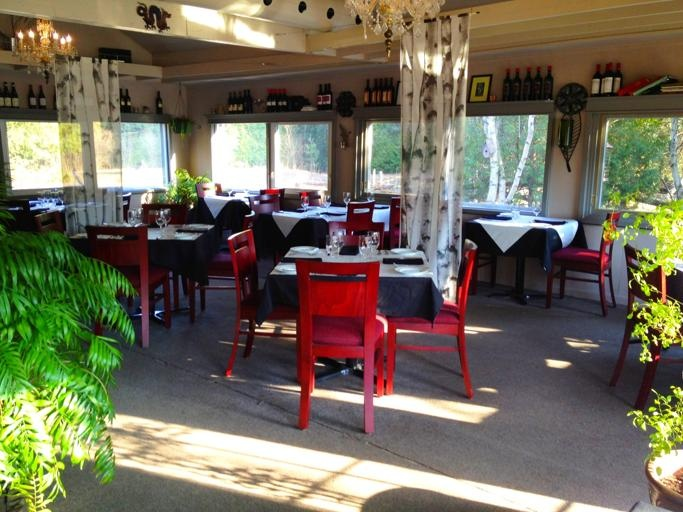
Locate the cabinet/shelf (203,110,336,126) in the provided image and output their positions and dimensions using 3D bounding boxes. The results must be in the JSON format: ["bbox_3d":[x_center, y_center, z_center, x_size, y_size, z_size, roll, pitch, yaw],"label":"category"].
[{"bbox_3d":[-1.294,-2.547,9.231,3.016,0.234,0.226,12,18,37],"label":"cabinet/shelf"}]

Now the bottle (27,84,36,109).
[{"bbox_3d":[-5.027,-2.620,8.284,0.054,0.366,0.136,12,18,41],"label":"bottle"}]

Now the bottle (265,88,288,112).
[{"bbox_3d":[-1.135,-2.794,9.046,0.495,0.385,0.116,10,16,33],"label":"bottle"}]

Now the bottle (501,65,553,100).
[{"bbox_3d":[2.366,-2.210,6.474,0.614,0.421,0.202,7,15,23],"label":"bottle"}]

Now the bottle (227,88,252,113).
[{"bbox_3d":[-1.901,-2.944,9.613,0.603,0.435,0.147,10,16,33],"label":"bottle"}]

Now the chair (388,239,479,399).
[{"bbox_3d":[0.824,0.435,4.555,0.973,1.703,0.978,2,4,4],"label":"chair"}]

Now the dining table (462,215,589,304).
[{"bbox_3d":[2.254,-0.168,6.270,1.048,0.891,1.095,8,11,39],"label":"dining table"}]

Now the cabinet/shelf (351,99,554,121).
[{"bbox_3d":[1.533,-2.063,7.214,2.772,0.259,0.560,9,17,28],"label":"cabinet/shelf"}]

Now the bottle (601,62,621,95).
[{"bbox_3d":[3.145,-2.080,5.937,0.217,0.351,0.092,7,15,26],"label":"bottle"}]

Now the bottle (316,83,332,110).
[{"bbox_3d":[-0.301,-2.685,8.489,0.345,0.418,0.128,13,18,40],"label":"bottle"}]

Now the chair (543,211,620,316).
[{"bbox_3d":[2.780,0.078,5.873,0.874,1.535,0.819,7,12,27],"label":"chair"}]

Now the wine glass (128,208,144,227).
[{"bbox_3d":[-2.045,-0.389,5.127,0.189,0.244,0.196,-3,12,-27],"label":"wine glass"}]

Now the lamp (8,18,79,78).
[{"bbox_3d":[-3.638,-2.545,6.262,0.620,0.654,1.947,-7,16,-28],"label":"lamp"}]

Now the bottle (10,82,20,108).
[{"bbox_3d":[-5.171,-2.581,8.076,0.086,0.390,0.167,-4,14,-18],"label":"bottle"}]

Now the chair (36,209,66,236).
[{"bbox_3d":[-2.853,-0.340,4.983,0.166,0.214,0.744,-5,16,-21],"label":"chair"}]

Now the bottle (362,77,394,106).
[{"bbox_3d":[0.574,-2.537,7.794,0.458,0.478,0.155,3,4,38],"label":"bottle"}]

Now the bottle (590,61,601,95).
[{"bbox_3d":[3.013,-2.103,6.025,0.102,0.359,0.110,0,13,0],"label":"bottle"}]

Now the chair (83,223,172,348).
[{"bbox_3d":[-1.940,0.202,4.771,0.483,1.108,0.661,2,14,6],"label":"chair"}]

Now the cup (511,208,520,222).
[{"bbox_3d":[2.160,-0.516,6.362,0.118,0.128,0.121,0,5,0],"label":"cup"}]

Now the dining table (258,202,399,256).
[{"bbox_3d":[-0.368,-0.453,6.741,0.736,0.372,1.266,9,12,42],"label":"dining table"}]

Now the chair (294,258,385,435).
[{"bbox_3d":[-0.004,0.528,3.561,0.638,1.161,0.643,1,14,2],"label":"chair"}]

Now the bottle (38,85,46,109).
[{"bbox_3d":[-4.929,-2.643,8.371,0.126,0.362,0.088,-8,16,-32],"label":"bottle"}]

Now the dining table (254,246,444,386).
[{"bbox_3d":[0.160,0.309,3.999,1.023,0.878,1.094,1,8,12],"label":"dining table"}]
